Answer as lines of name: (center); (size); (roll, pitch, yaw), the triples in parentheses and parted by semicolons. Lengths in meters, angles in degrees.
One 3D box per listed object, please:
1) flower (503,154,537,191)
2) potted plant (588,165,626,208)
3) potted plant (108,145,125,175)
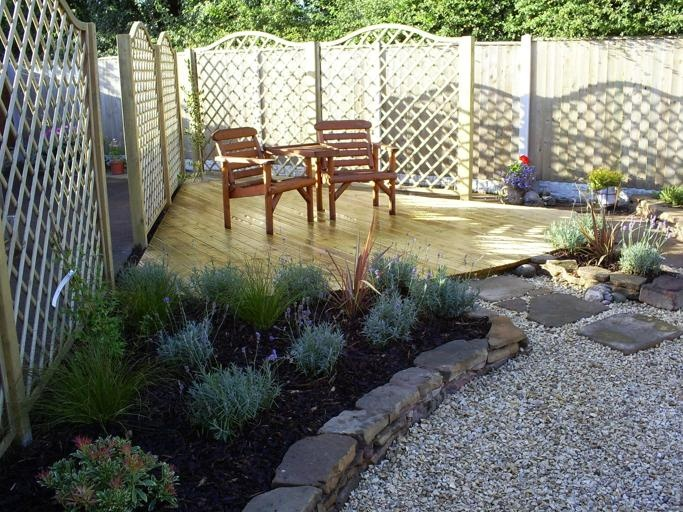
flower: (2.422, -1.142, 7.250); (0.419, 0.559, 0.475); (-3, 20, -6)
potted plant: (3.307, -0.840, 6.456); (0.374, 0.480, 0.271); (5, 13, 20)
potted plant: (-4.085, -1.742, 9.352); (0.270, 0.473, 0.823); (-5, 14, -24)
